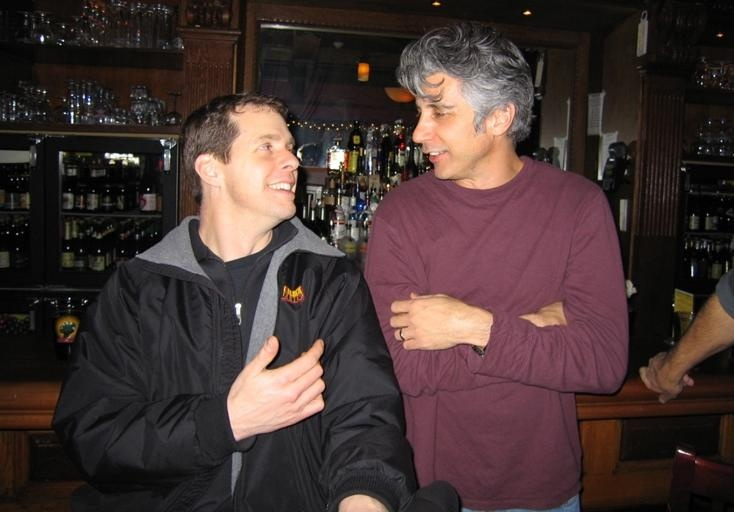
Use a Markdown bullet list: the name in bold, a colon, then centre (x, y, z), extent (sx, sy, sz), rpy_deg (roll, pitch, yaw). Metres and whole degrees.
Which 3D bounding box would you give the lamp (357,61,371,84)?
- **lamp**: centre (-0.033, -1.477, 4.892), extent (0.106, 0.116, 0.106), rpy_deg (7, 29, 2)

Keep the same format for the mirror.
- **mirror**: centre (-0.191, -1.038, 3.821), extent (1.553, 0.842, 0.106), rpy_deg (0, 25, -11)
